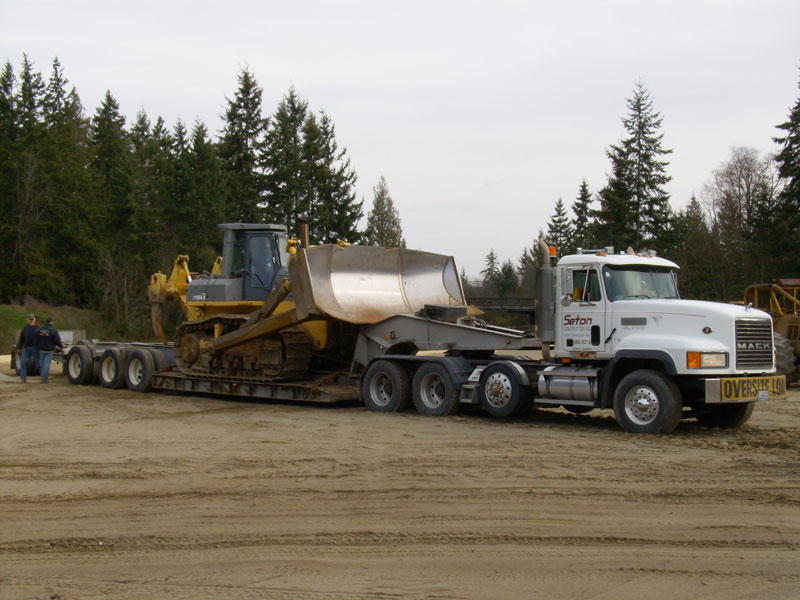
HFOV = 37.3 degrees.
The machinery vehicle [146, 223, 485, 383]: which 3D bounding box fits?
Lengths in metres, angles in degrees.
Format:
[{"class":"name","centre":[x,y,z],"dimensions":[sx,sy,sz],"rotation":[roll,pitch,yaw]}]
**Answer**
[{"class":"machinery vehicle","centre":[-2.503,0.063,25.968],"dimensions":[5.423,2.906,3.387],"rotation":[-4,-4,42]}]
